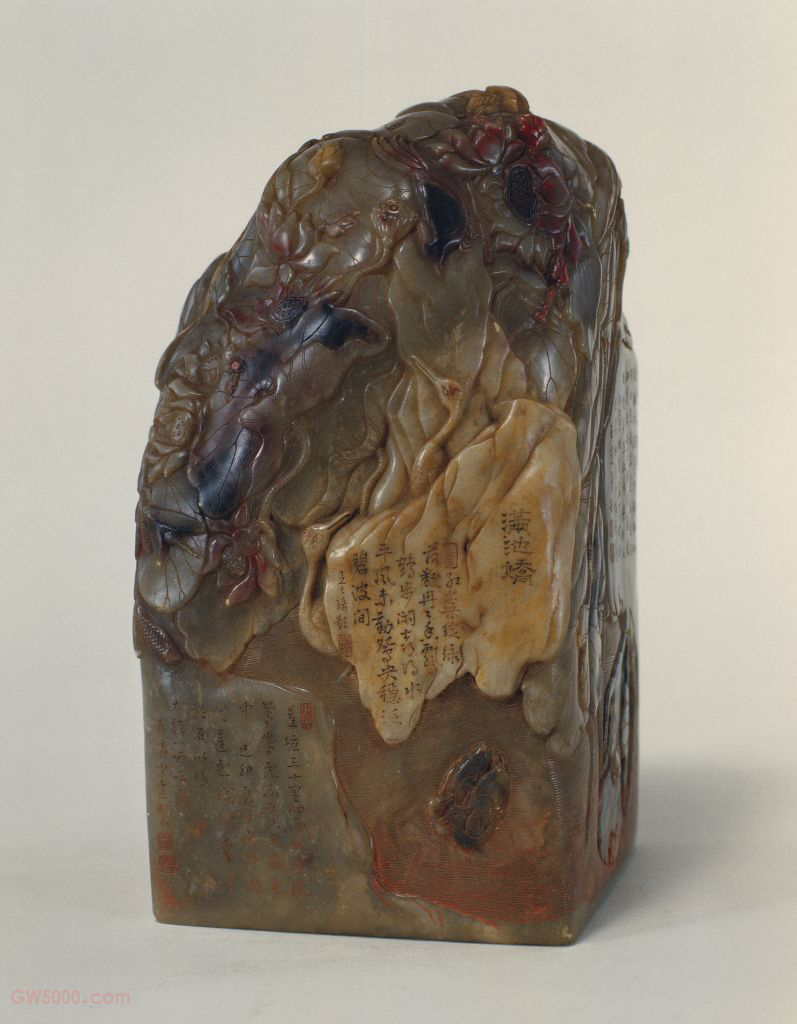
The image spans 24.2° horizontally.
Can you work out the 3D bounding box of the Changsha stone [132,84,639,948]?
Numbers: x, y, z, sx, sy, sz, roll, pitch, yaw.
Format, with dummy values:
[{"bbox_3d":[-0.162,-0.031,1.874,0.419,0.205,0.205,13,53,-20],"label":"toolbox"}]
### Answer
[{"bbox_3d":[-0.036,-0.017,4.549,1.171,2.011,0.594,1,9,7],"label":"Changsha stone"}]
